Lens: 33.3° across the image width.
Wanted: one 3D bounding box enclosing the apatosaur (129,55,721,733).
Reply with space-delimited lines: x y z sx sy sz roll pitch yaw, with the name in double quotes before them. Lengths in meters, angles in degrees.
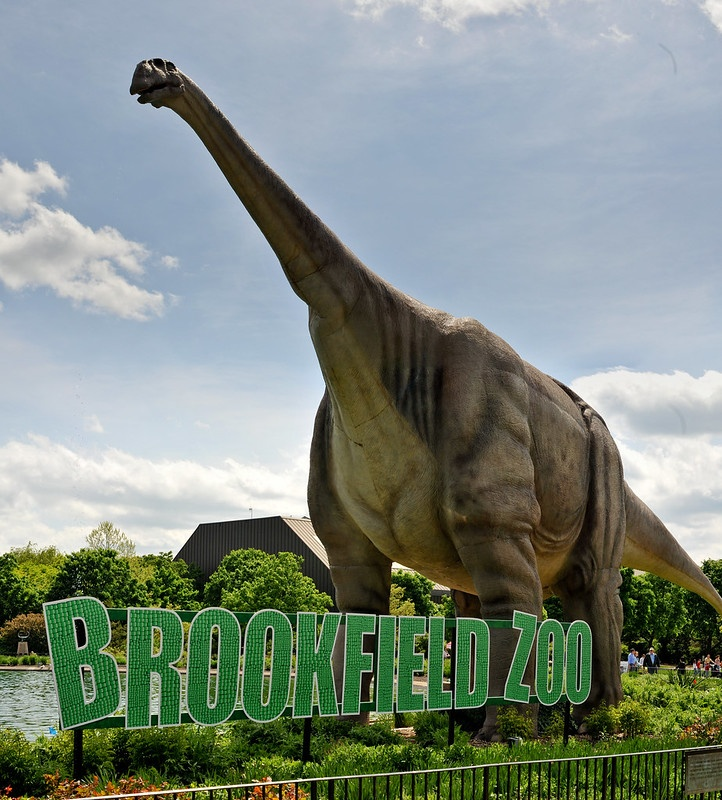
"apatosaur" 1.087 0.640 16.305 2.551 7.647 10.454 -6 -10 30
